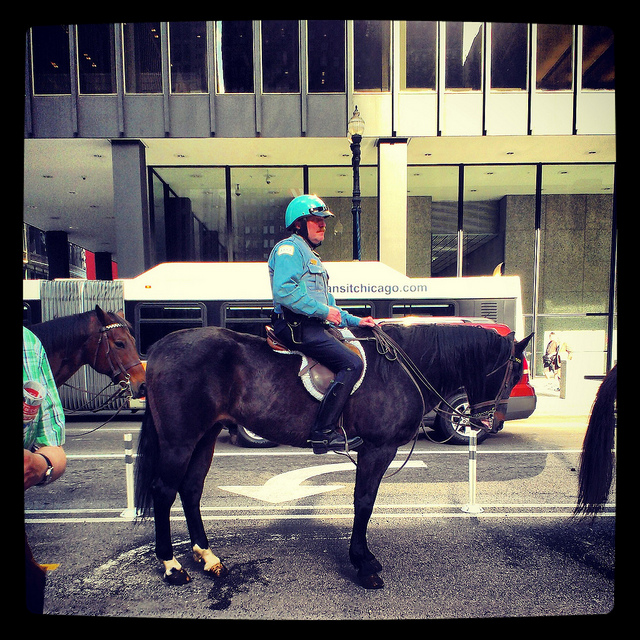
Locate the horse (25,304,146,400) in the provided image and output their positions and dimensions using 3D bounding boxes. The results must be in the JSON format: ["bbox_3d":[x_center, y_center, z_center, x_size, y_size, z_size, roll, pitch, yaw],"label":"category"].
[{"bbox_3d":[-4.030,0.606,21.037,1.791,1.694,0.447,-5,8,-19],"label":"horse"}]

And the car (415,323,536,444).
[{"bbox_3d":[3.217,1.448,21.831,2.782,1.591,1.632,2,0,-1],"label":"car"}]

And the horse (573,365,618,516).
[{"bbox_3d":[4.275,1.923,18.460,0.674,2.153,0.372,-2,8,1],"label":"horse"}]
